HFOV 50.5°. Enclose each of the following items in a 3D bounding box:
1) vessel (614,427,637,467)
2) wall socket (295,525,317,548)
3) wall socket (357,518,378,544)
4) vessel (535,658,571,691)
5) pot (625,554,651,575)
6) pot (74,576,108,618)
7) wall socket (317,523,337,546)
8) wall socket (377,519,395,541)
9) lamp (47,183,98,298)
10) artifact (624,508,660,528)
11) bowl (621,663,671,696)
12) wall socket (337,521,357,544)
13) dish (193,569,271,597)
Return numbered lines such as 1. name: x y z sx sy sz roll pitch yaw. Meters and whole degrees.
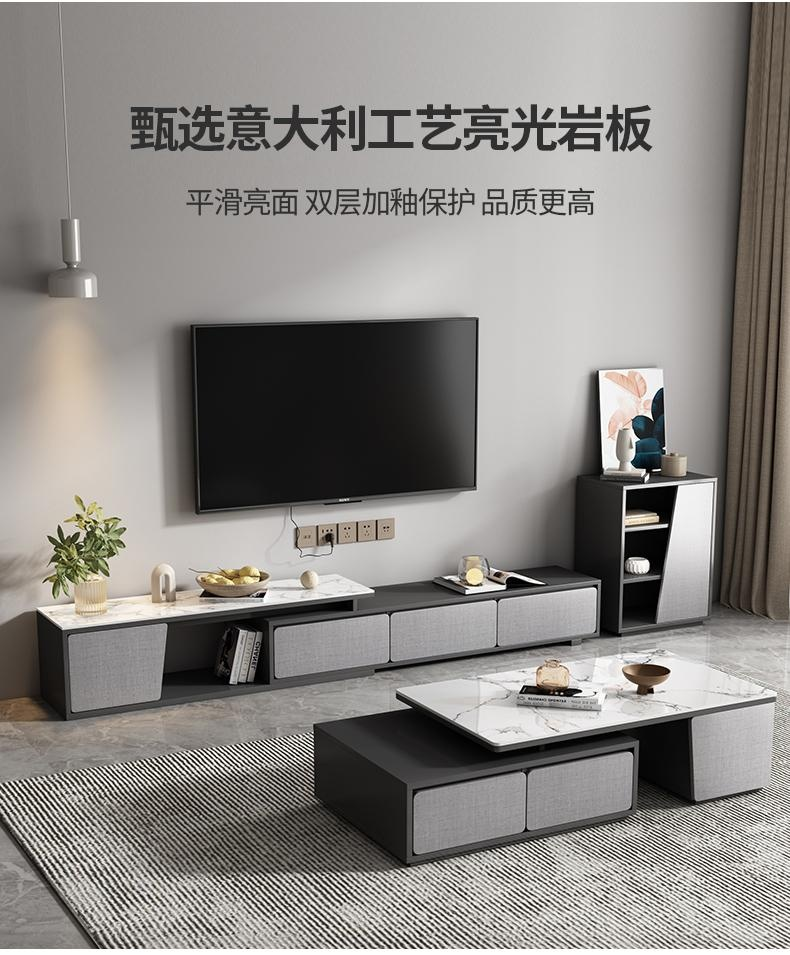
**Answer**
1. vessel: 1.249 -0.155 4.588 0.089 0.234 0.149 0 2 14
2. wall socket: -0.432 0.279 4.009 0.104 0.101 0.011 -10 10 -32
3. wall socket: -0.143 0.259 4.164 0.125 0.117 0.012 -6 14 -33
4. vessel: 0.476 0.583 2.513 0.093 0.074 0.080 0 5 3
5. pot: 1.306 0.481 4.546 0.125 0.093 0.139 0 2 12
6. pot: -1.192 0.479 3.365 0.137 0.143 0.148 1 7 0
7. wall socket: -0.333 0.271 4.054 0.108 0.101 0.055 -5 10 -34
8. wall socket: -0.052 0.257 4.212 0.109 0.102 0.010 -7 13 -34
9. lamp: -1.264 -0.922 3.279 0.190 0.469 0.315 -2 2 -19
10. artifact: 1.328 0.225 4.513 0.171 0.086 0.231 0 2 18
11. bowl: 0.751 0.596 2.519 0.111 0.053 0.106 -1 2 0
12. wall socket: -0.240 0.264 4.105 0.113 0.106 0.011 -6 14 -32
13. dish: -0.734 0.462 3.679 0.329 0.111 0.208 -1 2 8
